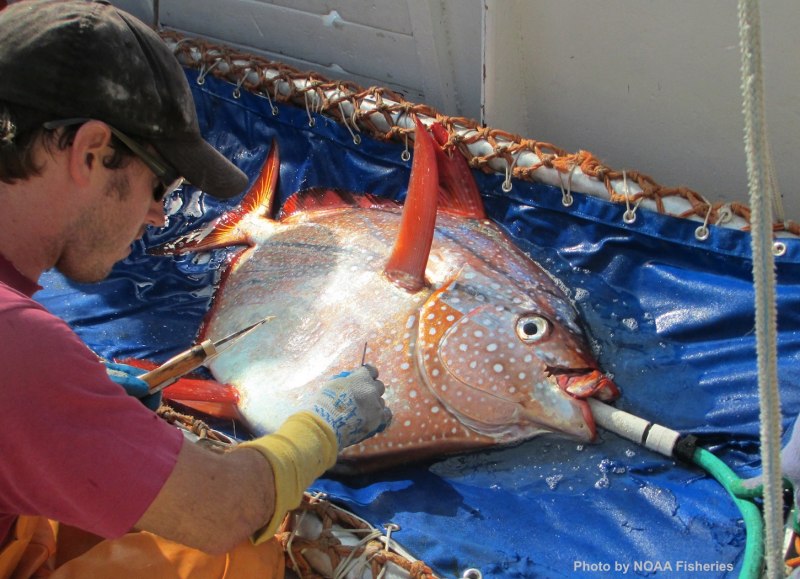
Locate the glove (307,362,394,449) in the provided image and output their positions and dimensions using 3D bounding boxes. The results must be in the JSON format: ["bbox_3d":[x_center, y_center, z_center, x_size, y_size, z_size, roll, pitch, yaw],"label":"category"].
[{"bbox_3d":[-0.162,0.361,3.284,0.225,0.087,0.343,44,42,-3],"label":"glove"}]
